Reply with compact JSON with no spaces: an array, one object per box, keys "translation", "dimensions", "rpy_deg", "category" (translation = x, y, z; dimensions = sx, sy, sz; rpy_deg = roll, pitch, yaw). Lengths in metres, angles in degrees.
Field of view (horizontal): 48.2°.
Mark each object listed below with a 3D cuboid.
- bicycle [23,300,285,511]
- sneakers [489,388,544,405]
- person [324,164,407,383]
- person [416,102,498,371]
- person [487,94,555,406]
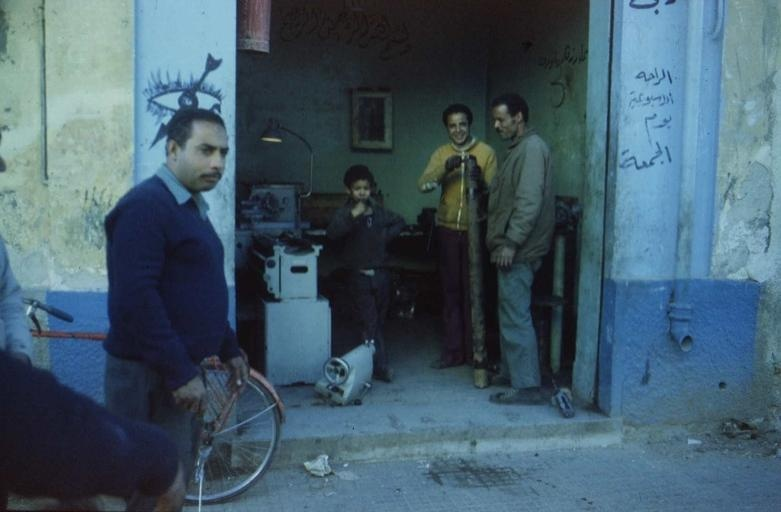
[{"translation":[-1.833,1.281,7.245],"dimensions":[2.447,1.525,1.182],"rpy_deg":[3,-1,-17],"category":"bicycle"},{"translation":[1.169,1.293,8.203],"dimensions":[0.529,0.212,0.188],"rpy_deg":[2,-2,1],"category":"sneakers"},{"translation":[-0.243,0.167,8.751],"dimensions":[0.779,2.138,0.478],"rpy_deg":[-1,3,-9],"category":"person"},{"translation":[0.673,-0.181,8.969],"dimensions":[0.766,2.698,0.585],"rpy_deg":[0,3,6],"category":"person"},{"translation":[1.232,-0.079,8.241],"dimensions":[0.601,2.890,0.555],"rpy_deg":[0,3,9],"category":"person"}]
